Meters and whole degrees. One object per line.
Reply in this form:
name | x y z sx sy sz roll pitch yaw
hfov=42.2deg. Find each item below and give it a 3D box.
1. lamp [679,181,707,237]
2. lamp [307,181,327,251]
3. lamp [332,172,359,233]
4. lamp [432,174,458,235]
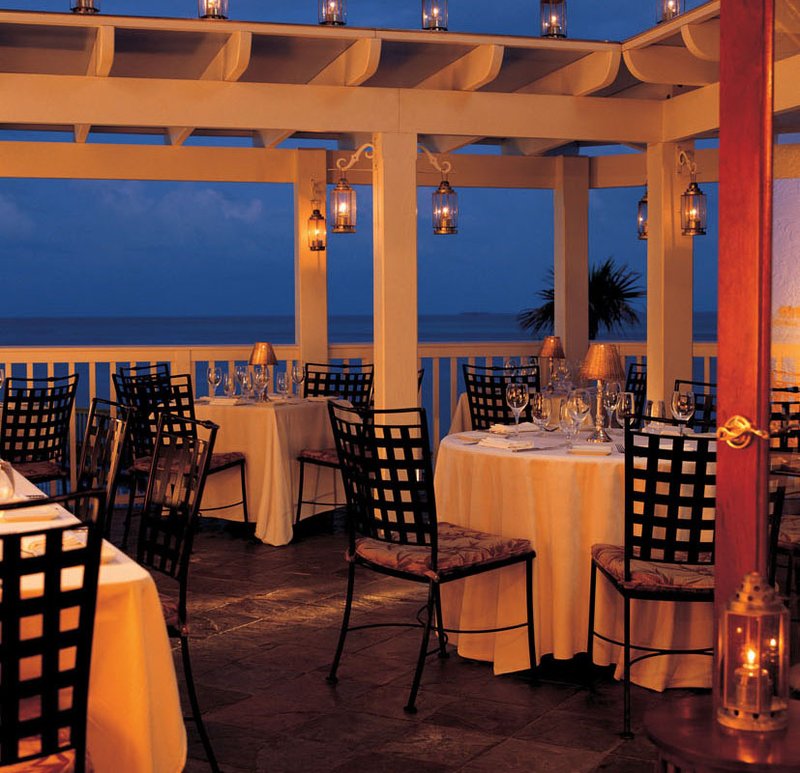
lamp | 1.750 -1.052 6.198 0.123 0.337 0.137 5 -7 -34
lamp | -0.662 -1.323 8.104 0.141 0.547 0.176 0 3 -6
lamp | -0.382 -1.172 6.877 0.131 0.374 0.139 4 -10 -38
lamp | 0.287 -1.181 6.840 0.136 0.355 0.169 0 12 2
